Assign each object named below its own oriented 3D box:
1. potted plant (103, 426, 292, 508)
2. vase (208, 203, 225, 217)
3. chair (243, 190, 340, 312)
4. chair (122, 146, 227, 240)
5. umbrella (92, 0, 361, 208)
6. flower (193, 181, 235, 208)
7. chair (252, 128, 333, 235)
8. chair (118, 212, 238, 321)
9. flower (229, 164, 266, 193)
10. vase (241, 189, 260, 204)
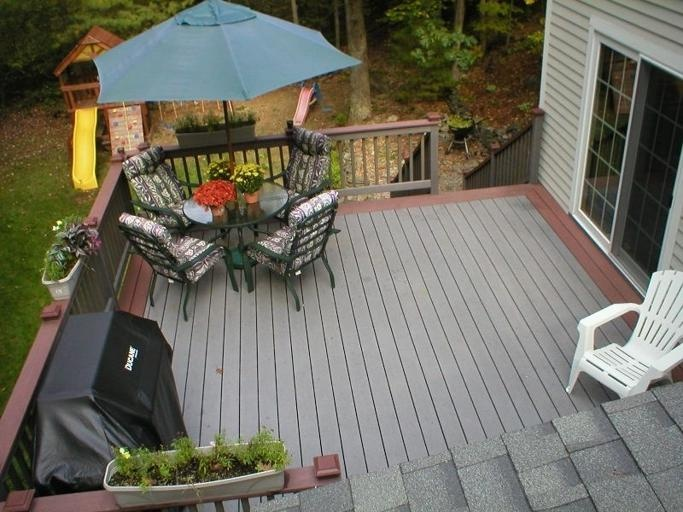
[{"bbox_3d":[-0.926,1.330,2.984,0.884,0.329,0.350,-4,48,0],"label":"potted plant"},{"bbox_3d":[-1.393,-0.513,5.399,0.145,0.206,0.119,-15,72,-10],"label":"vase"},{"bbox_3d":[-0.559,-0.200,5.484,0.968,1.344,1.094,1,34,-8],"label":"chair"},{"bbox_3d":[-2.241,-0.861,6.103,0.749,0.835,0.861,-2,34,11],"label":"chair"},{"bbox_3d":[-1.311,-1.560,5.496,1.795,1.311,1.791,-35,55,-28],"label":"umbrella"},{"bbox_3d":[-1.410,-0.690,5.406,0.312,0.213,0.363,-4,31,-3],"label":"flower"},{"bbox_3d":[-0.625,-0.893,6.369,1.007,1.466,0.917,-17,32,-36],"label":"chair"},{"bbox_3d":[-1.848,-0.001,5.409,0.780,1.322,0.954,15,38,22],"label":"chair"},{"bbox_3d":[-1.089,-0.940,5.497,0.300,0.322,0.336,-13,49,-8],"label":"flower"},{"bbox_3d":[-1.063,-0.710,5.582,0.145,0.124,0.164,2,34,4],"label":"vase"}]
